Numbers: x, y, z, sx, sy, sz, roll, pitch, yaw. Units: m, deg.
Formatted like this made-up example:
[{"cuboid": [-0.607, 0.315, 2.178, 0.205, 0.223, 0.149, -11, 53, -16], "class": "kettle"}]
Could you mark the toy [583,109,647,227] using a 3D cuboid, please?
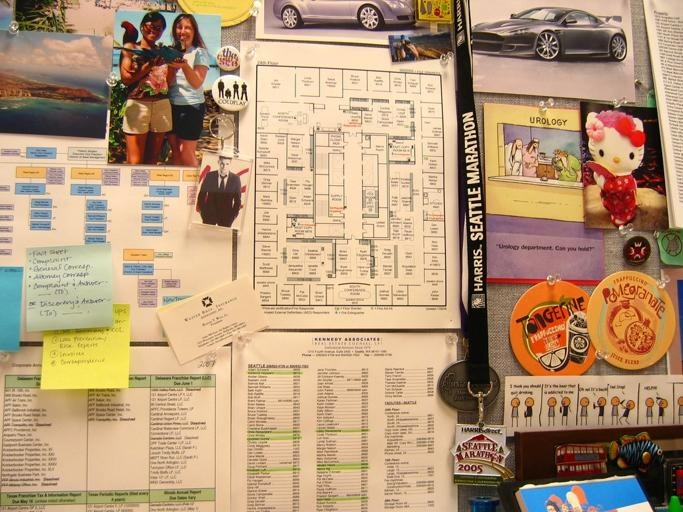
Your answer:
[{"cuboid": [0.776, -0.248, 1.856, 0.173, 0.313, 0.114, -2, 14, 7], "class": "toy"}]
